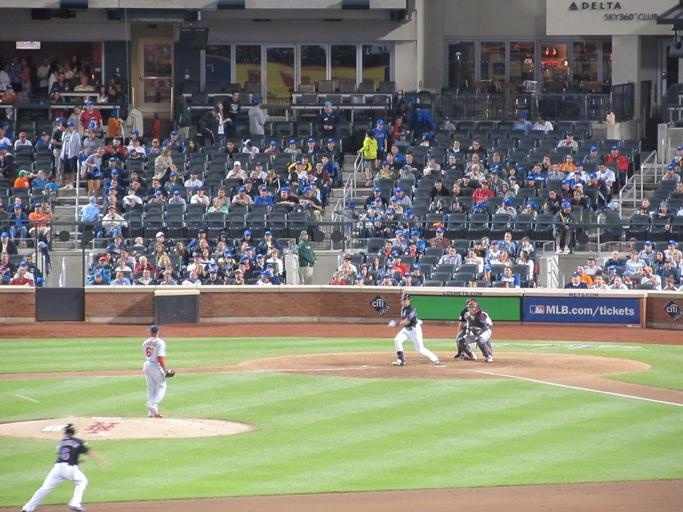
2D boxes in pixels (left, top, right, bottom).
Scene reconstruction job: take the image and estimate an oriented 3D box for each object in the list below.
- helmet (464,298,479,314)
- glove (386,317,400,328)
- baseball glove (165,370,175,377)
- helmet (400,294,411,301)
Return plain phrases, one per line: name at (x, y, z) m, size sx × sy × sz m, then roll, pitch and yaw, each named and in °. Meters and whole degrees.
helmet at (3.765, 1.418, 53.633) m, size 0.373 × 0.479 × 0.491 m, roll 2°, pitch -12°, yaw 13°
glove at (1.509, 1.902, 52.852) m, size 0.254 × 0.189 × 0.401 m, roll -7°, pitch 1°, yaw -4°
baseball glove at (-4.704, 3.136, 49.341) m, size 0.313 × 0.141 × 0.122 m, roll 7°, pitch 24°, yaw 8°
helmet at (1.829, 1.191, 53.048) m, size 0.221 × 0.223 × 0.177 m, roll 14°, pitch 7°, yaw 24°
